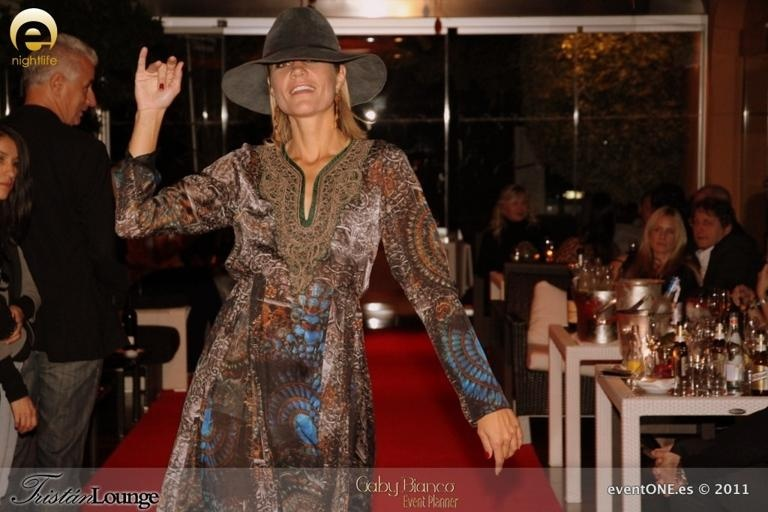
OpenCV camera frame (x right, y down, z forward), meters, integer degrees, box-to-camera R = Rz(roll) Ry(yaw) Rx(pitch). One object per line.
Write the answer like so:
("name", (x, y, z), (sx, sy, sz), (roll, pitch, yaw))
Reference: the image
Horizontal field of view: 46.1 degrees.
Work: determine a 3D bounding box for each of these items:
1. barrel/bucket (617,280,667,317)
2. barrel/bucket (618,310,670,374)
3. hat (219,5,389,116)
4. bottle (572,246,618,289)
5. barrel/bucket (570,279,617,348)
("barrel/bucket", (1.770, 0.302, 6.225), (0.208, 0.178, 0.225), (2, -1, 0))
("barrel/bucket", (1.697, 0.559, 5.994), (0.334, 0.444, 0.356), (2, -1, 0))
("hat", (-0.362, -0.885, 4.609), (0.593, 0.337, 0.623), (1, 7, 38))
("bottle", (1.583, 0.104, 6.763), (0.290, 0.380, 0.313), (0, -3, 0))
("barrel/bucket", (1.500, 0.439, 6.600), (0.324, 0.432, 0.370), (-1, -4, -3))
